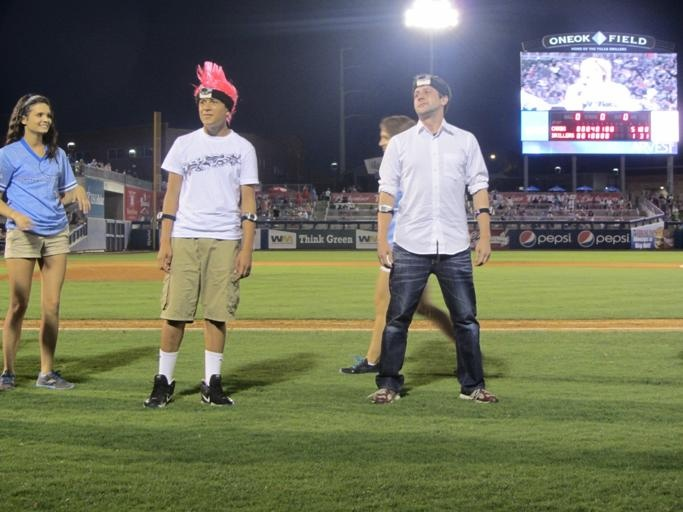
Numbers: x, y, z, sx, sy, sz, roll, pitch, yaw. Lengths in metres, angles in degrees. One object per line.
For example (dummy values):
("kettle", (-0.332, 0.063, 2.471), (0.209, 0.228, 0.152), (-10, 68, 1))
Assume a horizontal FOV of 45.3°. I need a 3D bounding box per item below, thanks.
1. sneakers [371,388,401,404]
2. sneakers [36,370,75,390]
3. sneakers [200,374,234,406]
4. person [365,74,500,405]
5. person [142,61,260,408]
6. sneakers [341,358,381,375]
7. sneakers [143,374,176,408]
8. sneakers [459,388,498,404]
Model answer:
("sneakers", (0.325, 0.994, 5.826), (0.195, 0.081, 0.091), (8, -8, -35))
("sneakers", (-2.138, 0.926, 6.145), (0.340, 0.143, 0.116), (3, -3, 4))
("sneakers", (-0.872, 0.929, 5.761), (0.226, 0.198, 0.206), (-1, 7, -8))
("person", (0.649, -0.156, 5.895), (0.890, 2.319, 0.601), (0, 7, 0))
("person", (-0.984, 0.066, 5.824), (0.792, 1.909, 0.546), (-1, 7, -6))
("sneakers", (0.165, 0.904, 6.686), (0.349, 0.129, 0.113), (1, -6, -3))
("sneakers", (-1.279, 0.923, 5.775), (0.160, 0.212, 0.319), (1, 7, 7))
("sneakers", (0.978, 0.980, 5.776), (0.230, 0.091, 0.104), (-1, -2, 13))
